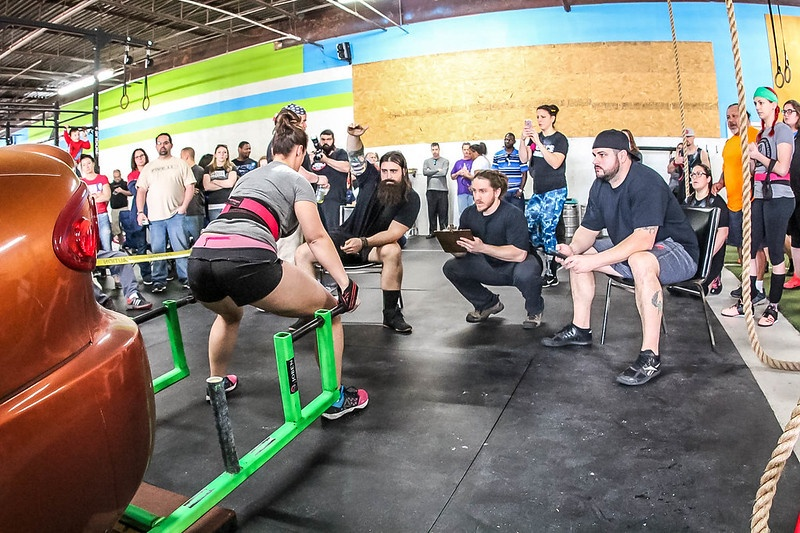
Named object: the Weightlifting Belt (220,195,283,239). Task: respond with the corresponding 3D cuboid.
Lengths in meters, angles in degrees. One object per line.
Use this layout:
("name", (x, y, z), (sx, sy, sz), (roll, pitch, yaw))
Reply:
("Weightlifting Belt", (-0.766, -0.243, 2.550), (0.246, 0.241, 0.092), (-10, 48, 31))

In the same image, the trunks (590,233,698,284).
("trunks", (1.828, -0.109, 3.429), (0.431, 0.162, 0.455), (-16, 16, -20))

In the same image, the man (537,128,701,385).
("man", (1.564, -0.155, 3.464), (0.942, 1.596, 1.285), (6, 15, 32))

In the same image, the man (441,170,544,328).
("man", (0.803, -0.153, 4.236), (0.861, 1.345, 0.654), (0, 13, 13))

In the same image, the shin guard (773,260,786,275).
("shin guard", (3.118, 0.012, 4.041), (0.117, 0.105, 0.110), (7, -10, -37))

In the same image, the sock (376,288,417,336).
("sock", (-0.024, 0.382, 4.230), (0.206, 0.341, 0.310), (-6, 13, -13))

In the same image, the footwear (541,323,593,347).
("footwear", (1.285, 0.537, 3.759), (0.371, 0.144, 0.155), (0, -3, -2))

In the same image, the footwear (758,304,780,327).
("footwear", (3.035, 0.407, 4.069), (0.349, 0.137, 0.112), (-6, -2, -40))

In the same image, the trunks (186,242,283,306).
("trunks", (-0.843, 0.035, 2.448), (0.473, 0.247, 0.311), (1, 3, 21))

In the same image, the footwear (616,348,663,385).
("footwear", (1.567, 0.635, 3.108), (0.384, 0.167, 0.136), (-9, -3, -33))

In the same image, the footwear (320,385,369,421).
("footwear", (-0.300, 0.781, 2.872), (0.124, 0.151, 0.323), (0, 6, 38))

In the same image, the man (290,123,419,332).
("man", (-0.327, -0.360, 4.327), (1.162, 1.666, 1.160), (4, 15, -34))

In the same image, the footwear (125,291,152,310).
("footwear", (-2.920, 0.378, 5.409), (0.315, 0.162, 0.169), (0, 1, 26))
